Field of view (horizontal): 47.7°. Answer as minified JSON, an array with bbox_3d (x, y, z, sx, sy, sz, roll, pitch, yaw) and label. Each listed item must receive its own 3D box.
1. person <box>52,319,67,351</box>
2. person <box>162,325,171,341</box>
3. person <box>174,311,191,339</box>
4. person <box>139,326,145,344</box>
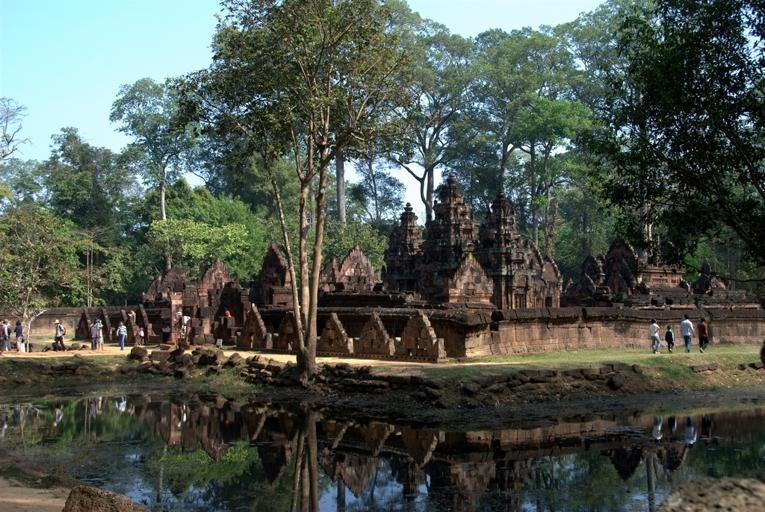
[{"bbox_3d":[-16.598,4.026,44.155,0.577,1.619,2.709,2,-8,-20],"label":"person"},{"bbox_3d":[-11.230,4.008,44.569,0.408,0.773,0.979,1,-8,-15],"label":"person"},{"bbox_3d":[-10.241,3.553,44.279,0.913,1.377,0.523,1,-7,40],"label":"person"},{"bbox_3d":[-12.824,4.183,45.683,0.309,0.958,1.124,1,-8,-14],"label":"person"}]
